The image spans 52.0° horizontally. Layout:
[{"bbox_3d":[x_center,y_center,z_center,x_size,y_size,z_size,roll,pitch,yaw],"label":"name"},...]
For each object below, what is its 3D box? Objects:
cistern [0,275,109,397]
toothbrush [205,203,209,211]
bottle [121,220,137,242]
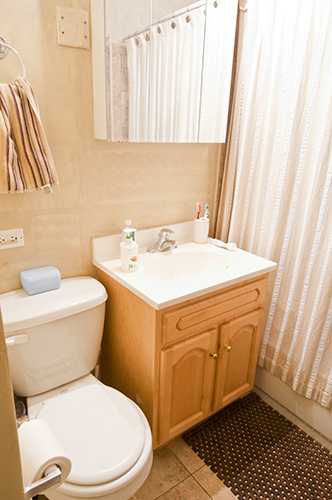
[{"bbox_3d":[-0.392,0.296,1.178,0.325,0.326,0.198,-18,29,-39],"label":"cistern"},{"bbox_3d":[0.203,-0.219,1.691,0.019,0.022,0.079,-2,32,7],"label":"toothbrush"},{"bbox_3d":[-0.160,-0.081,1.423,0.056,0.113,0.056,1,26,-1],"label":"bottle"}]
